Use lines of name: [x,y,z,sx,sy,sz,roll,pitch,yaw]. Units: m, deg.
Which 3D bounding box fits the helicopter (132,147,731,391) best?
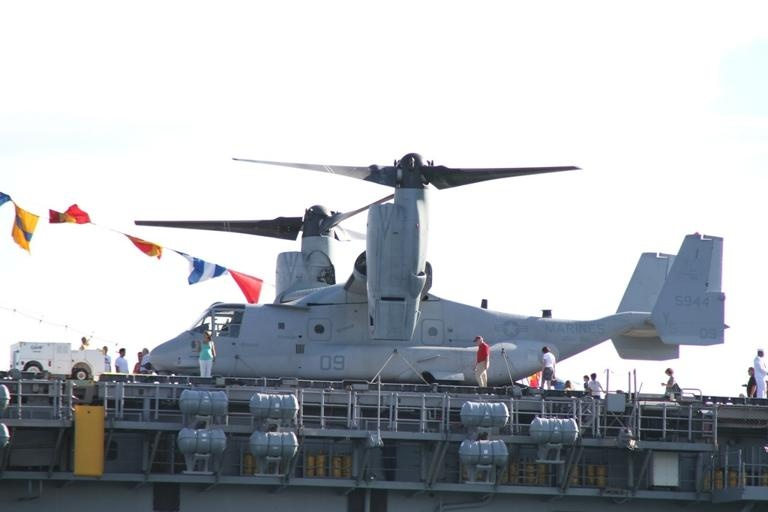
helicopter: [1.890,1.277,78.216,19.917,6.815,19.668,4,-10,-23]
